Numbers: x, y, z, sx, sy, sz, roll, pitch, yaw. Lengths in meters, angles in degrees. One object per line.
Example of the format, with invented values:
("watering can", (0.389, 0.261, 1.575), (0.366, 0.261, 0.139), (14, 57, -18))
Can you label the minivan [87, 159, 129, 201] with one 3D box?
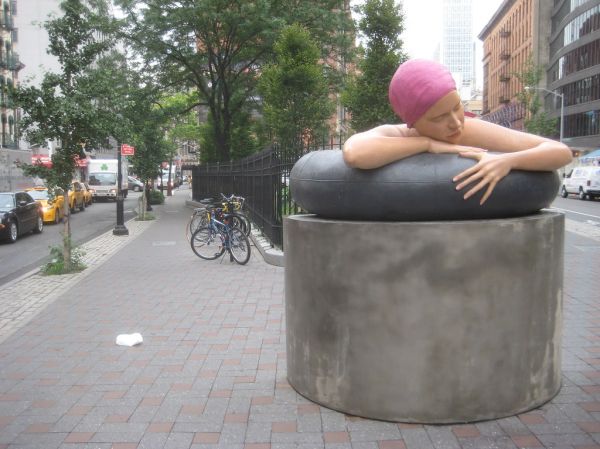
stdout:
("minivan", (-14.907, -3.416, 38.775), (2.760, 3.237, 4.466), (-4, 7, -23))

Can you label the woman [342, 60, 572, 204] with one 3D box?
("woman", (1.192, -0.735, 4.053), (1.315, 0.578, 1.517), (-5, 17, -18))

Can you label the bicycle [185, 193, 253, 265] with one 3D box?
("bicycle", (-1.946, 0.135, 12.221), (1.032, 1.434, 2.477), (-3, 7, -33))

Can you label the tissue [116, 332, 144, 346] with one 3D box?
("tissue", (-2.099, 1.414, 6.172), (0.377, 0.097, 0.274), (-1, 6, 6))

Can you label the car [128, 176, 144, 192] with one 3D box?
("car", (-18.998, -4.537, 57.992), (1.247, 1.546, 3.790), (-4, 7, -21))
